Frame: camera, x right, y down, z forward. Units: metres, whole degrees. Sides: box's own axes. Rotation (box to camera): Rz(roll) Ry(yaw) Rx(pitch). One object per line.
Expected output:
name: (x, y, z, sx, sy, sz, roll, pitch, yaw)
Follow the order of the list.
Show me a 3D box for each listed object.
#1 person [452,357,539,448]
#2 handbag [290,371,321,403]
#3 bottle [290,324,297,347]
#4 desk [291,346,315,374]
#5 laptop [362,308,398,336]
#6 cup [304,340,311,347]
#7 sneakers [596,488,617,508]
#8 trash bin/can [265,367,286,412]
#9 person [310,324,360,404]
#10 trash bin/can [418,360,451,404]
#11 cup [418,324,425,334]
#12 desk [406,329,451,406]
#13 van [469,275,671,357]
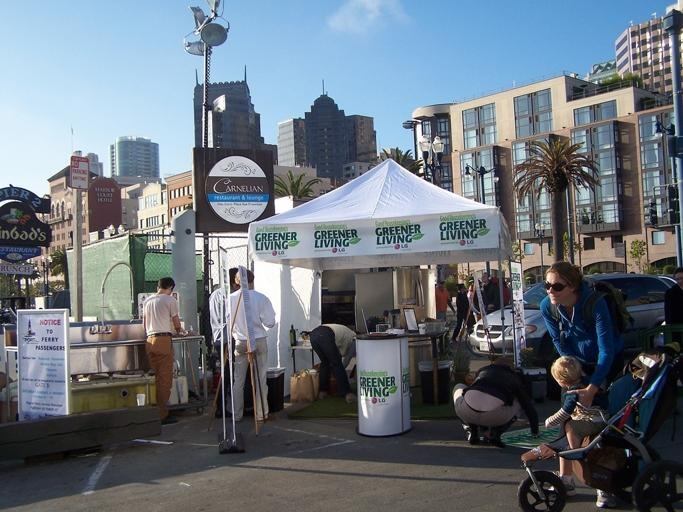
person: (2.229, 2.212, 12.722, 1.258, 1.256, 1.233, 3, 1, 38)
handbag: (-0.766, 2.627, 16.734, 0.567, 0.630, 0.495, -1, 0, -15)
bottle: (-1.042, 1.690, 17.717, 0.151, 0.345, 0.519, -3, 13, -3)
desk: (-0.879, 2.244, 18.055, 0.548, 0.580, 0.543, -3, 2, -41)
laptop: (0.803, 1.387, 17.314, 0.493, 0.569, 0.539, -1, -5, 18)
cup: (-0.751, 1.860, 17.511, 0.131, 0.107, 0.142, 1, 8, 0)
sneakers: (3.329, 3.078, 10.551, 0.140, 0.176, 0.366, -1, -16, 13)
trash bin/can: (-1.233, 2.549, 16.141, 0.517, 0.899, 0.852, -2, -5, 8)
person: (-0.176, 2.141, 16.372, 0.897, 1.491, 1.454, -3, 13, -3)
trash bin/can: (1.726, 2.340, 15.558, 0.585, 0.787, 0.583, -1, 13, 7)
cup: (1.625, 1.484, 17.014, 0.126, 0.178, 0.137, 1, -10, 0)
desk: (1.702, 2.211, 16.137, 0.915, 1.313, 1.724, -2, -2, 6)
van: (5.107, 1.202, 18.156, 4.053, 1.564, 1.853, 0, -8, -17)
